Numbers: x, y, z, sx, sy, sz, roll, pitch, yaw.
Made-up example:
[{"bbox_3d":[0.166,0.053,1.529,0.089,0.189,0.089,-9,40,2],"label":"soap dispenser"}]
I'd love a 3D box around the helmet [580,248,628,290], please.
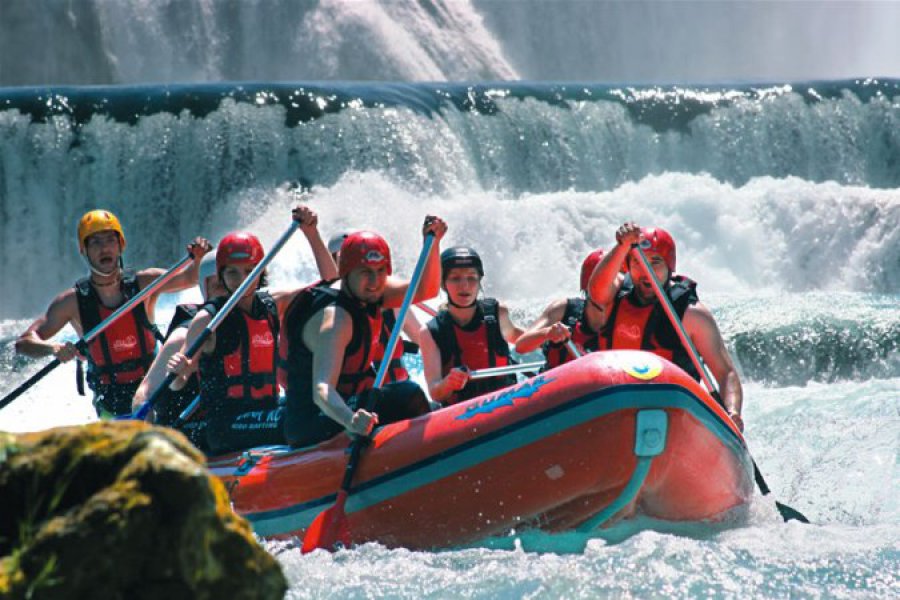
[{"bbox_3d":[2.126,-0.446,16.508,0.375,0.546,0.527,-5,-27,6],"label":"helmet"}]
